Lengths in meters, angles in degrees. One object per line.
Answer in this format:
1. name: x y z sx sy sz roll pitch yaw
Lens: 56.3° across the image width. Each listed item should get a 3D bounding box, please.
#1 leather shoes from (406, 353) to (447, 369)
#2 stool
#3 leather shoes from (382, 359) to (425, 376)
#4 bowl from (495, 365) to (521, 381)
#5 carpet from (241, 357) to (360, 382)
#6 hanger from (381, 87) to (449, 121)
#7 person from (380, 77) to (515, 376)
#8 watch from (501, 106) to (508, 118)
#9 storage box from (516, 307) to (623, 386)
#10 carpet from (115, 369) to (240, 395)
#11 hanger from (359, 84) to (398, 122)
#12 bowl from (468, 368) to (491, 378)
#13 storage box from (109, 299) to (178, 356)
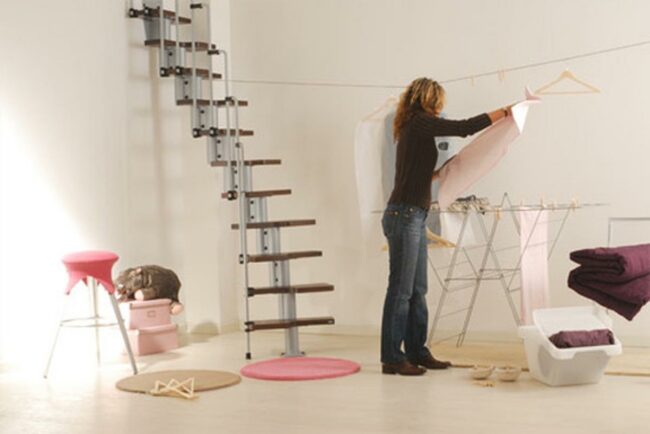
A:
1. leather shoes: 0.825 1.154 4.885 0.336 0.136 0.113 -2 -3 13
2. stool: -2.039 0.776 5.193 0.654 1.012 1.009 -4 6 -26
3. leather shoes: 0.611 1.176 4.751 0.327 0.132 0.118 -3 -5 12
4. bowl: 1.365 1.160 4.519 0.128 0.062 0.127 -4 4 0
5. carpet: -0.198 1.218 4.924 0.968 0.045 0.605 -2 5 0
6. hanger: 0.750 -0.927 4.907 0.339 0.429 0.323 3 6 -10
7. person: 0.823 0.052 4.814 0.811 2.317 0.558 -2 5 4
8. watch: 1.383 -0.801 4.626 0.050 0.067 0.066 6 4 39
9. storage box: 1.807 0.961 4.507 0.718 0.489 0.522 -1 5 5
10. carpet: -1.134 1.238 4.713 0.970 0.091 0.578 -2 5 1
11. hanger: 0.562 -1.069 5.841 0.281 0.380 0.129 11 -1 24
12. bowl: 1.164 1.167 4.535 0.097 0.046 0.095 -5 -4 0
13. storage box: -1.763 1.083 5.794 0.423 0.468 0.533 -17 -11 33
